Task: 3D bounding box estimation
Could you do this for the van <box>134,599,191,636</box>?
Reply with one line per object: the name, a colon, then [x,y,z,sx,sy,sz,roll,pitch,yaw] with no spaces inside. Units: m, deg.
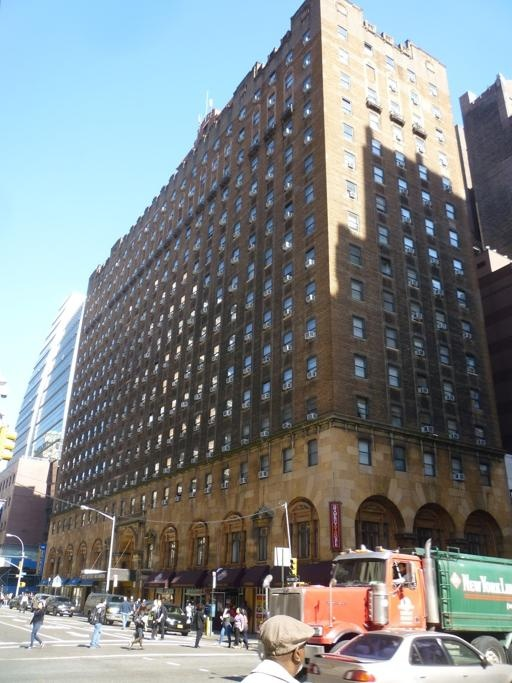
van: [-5.676,18.057,34.306,2.950,1.848,3.306,4,-24,-8]
